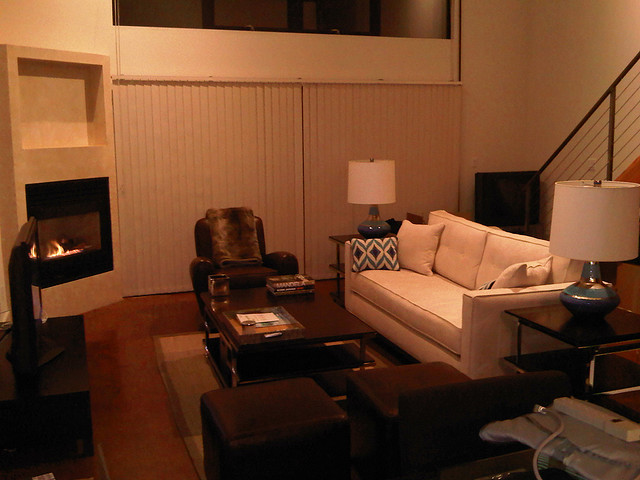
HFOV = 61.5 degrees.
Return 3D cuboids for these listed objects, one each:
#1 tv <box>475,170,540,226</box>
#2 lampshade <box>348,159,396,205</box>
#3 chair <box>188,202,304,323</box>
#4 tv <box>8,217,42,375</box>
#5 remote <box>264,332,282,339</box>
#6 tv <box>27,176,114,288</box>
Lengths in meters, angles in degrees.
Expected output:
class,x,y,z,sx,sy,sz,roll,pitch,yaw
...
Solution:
class,x,y,z,sx,sy,sz,roll,pitch,yaw
tv,2.680,-0.638,7.674,0.950,0.873,0.328,0,-1,7
lampshade,0.525,-0.587,5.561,0.437,0.359,0.453,0,4,1
chair,-0.901,0.253,5.781,1.169,1.193,0.949,-4,2,-32
tv,-1.555,0.327,2.854,0.086,0.612,0.799,-1,7,-18
remote,-0.323,0.662,3.710,0.120,0.024,0.047,-5,12,-4
tv,-2.504,-0.104,5.385,0.359,1.030,1.039,7,12,33
